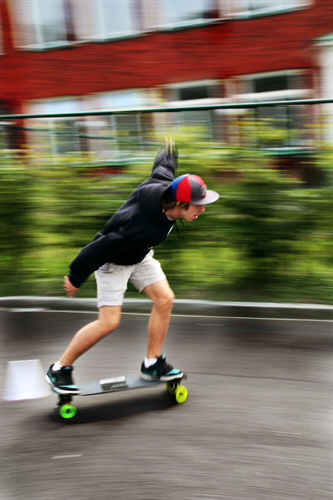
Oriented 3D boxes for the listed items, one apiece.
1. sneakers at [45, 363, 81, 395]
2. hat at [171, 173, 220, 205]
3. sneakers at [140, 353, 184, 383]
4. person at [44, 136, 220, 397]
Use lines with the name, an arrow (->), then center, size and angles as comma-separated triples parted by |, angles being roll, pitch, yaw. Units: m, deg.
sneakers -> -0.627, 0.787, 2.951 | 0.278, 0.121, 0.110 | 22, 2, 35
hat -> 0.163, -0.334, 2.727 | 0.267, 0.132, 0.168 | 4, 32, 0
sneakers -> -0.035, 0.767, 3.142 | 0.353, 0.175, 0.120 | 0, -1, -3
person -> -0.211, 0.188, 2.964 | 1.219, 1.346, 0.705 | -15, 17, -29
